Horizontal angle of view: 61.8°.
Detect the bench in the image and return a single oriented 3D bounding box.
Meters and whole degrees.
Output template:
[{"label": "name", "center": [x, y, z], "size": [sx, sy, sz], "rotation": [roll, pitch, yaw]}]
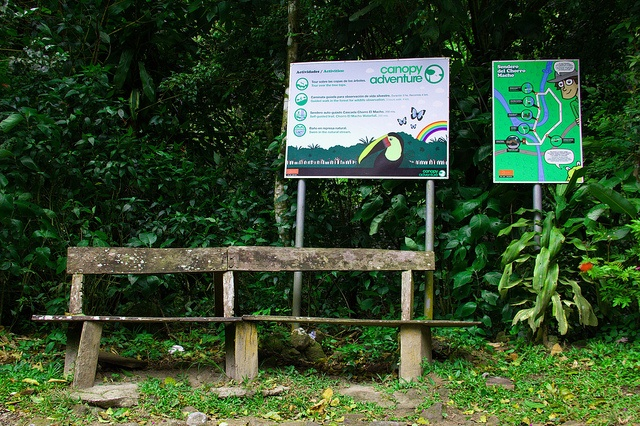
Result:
[{"label": "bench", "center": [0.024, 0.908, 5.739], "size": [2.784, 0.954, 0.934], "rotation": [-2, 16, 34]}]
